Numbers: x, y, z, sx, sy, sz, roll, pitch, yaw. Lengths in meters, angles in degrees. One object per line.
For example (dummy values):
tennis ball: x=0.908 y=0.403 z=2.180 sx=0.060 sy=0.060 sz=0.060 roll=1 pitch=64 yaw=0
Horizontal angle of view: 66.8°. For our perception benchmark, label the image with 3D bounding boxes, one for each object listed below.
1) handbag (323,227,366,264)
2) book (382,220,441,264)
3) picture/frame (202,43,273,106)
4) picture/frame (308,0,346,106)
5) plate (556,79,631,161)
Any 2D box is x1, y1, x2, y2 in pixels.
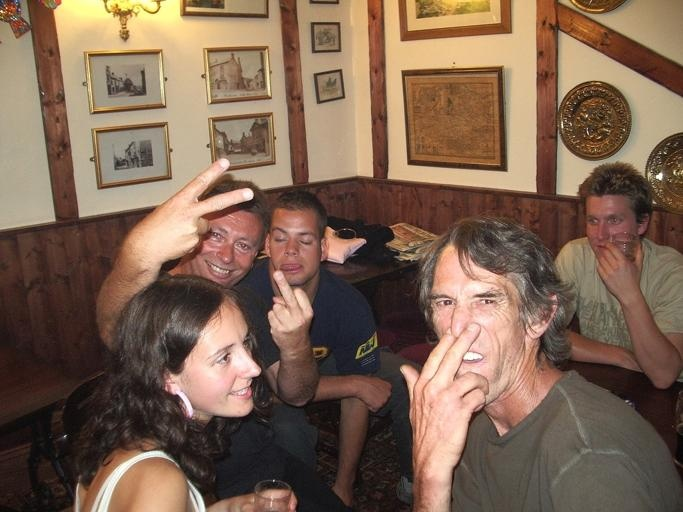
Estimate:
handbag: x=-0.030 y=-0.138 z=4.782 sx=0.340 sy=0.128 sz=0.346 roll=19 pitch=27 yaw=34
book: x=0.694 y=-0.136 z=5.089 sx=0.418 sy=0.107 sz=0.409 roll=-20 pitch=36 yaw=-37
picture/frame: x=-1.069 y=-1.826 z=5.178 sx=0.660 sy=0.472 sz=0.094 roll=-12 pitch=22 yaw=-25
picture/frame: x=-0.156 y=-2.277 z=5.769 sx=0.107 sy=1.126 sz=0.524 roll=6 pitch=10 yaw=38
plate: x=2.117 y=-1.133 z=4.285 sx=0.665 sy=0.731 sz=0.101 roll=8 pitch=14 yaw=38
